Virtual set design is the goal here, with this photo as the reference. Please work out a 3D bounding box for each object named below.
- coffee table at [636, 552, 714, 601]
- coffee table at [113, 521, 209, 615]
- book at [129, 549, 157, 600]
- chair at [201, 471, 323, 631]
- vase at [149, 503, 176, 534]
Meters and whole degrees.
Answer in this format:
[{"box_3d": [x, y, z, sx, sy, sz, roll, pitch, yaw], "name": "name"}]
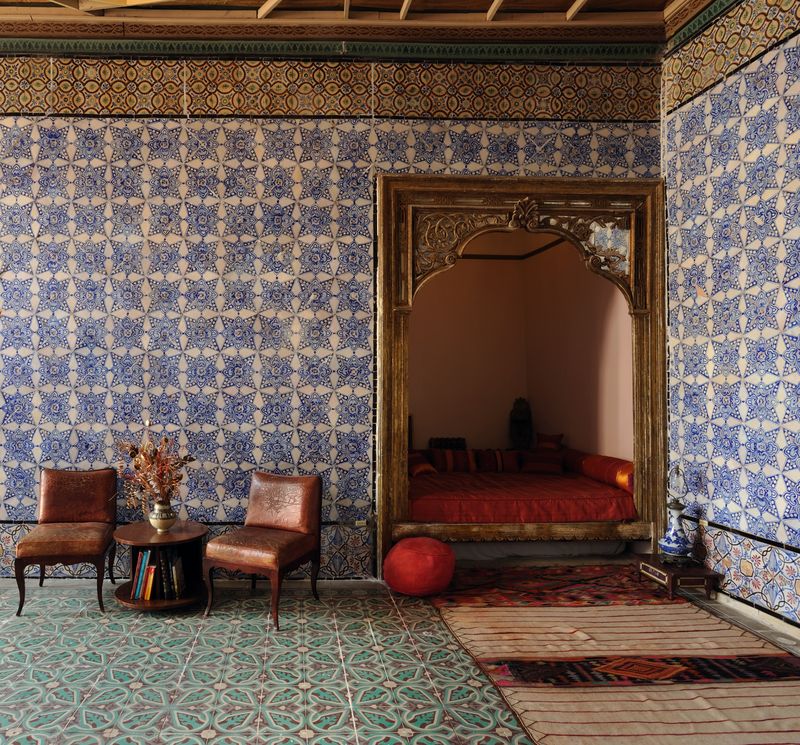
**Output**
[{"box_3d": [2.153, 1.548, 5.961, 0.364, 0.155, 0.478, 0, 0, -7], "name": "coffee table"}, {"box_3d": [-1.781, 1.465, 5.909, 0.763, 0.424, 0.700, 0, 10, 0], "name": "coffee table"}, {"box_3d": [-1.880, 1.507, 5.714, 0.119, 0.282, 0.243, 4, 1, 0], "name": "book"}, {"box_3d": [-1.034, 1.285, 5.931, 0.742, 0.824, 0.725, 2, 5, 19], "name": "chair"}, {"box_3d": [-1.779, 1.091, 5.806, 0.252, 0.234, 0.224, 0, -1, -13], "name": "vase"}]
